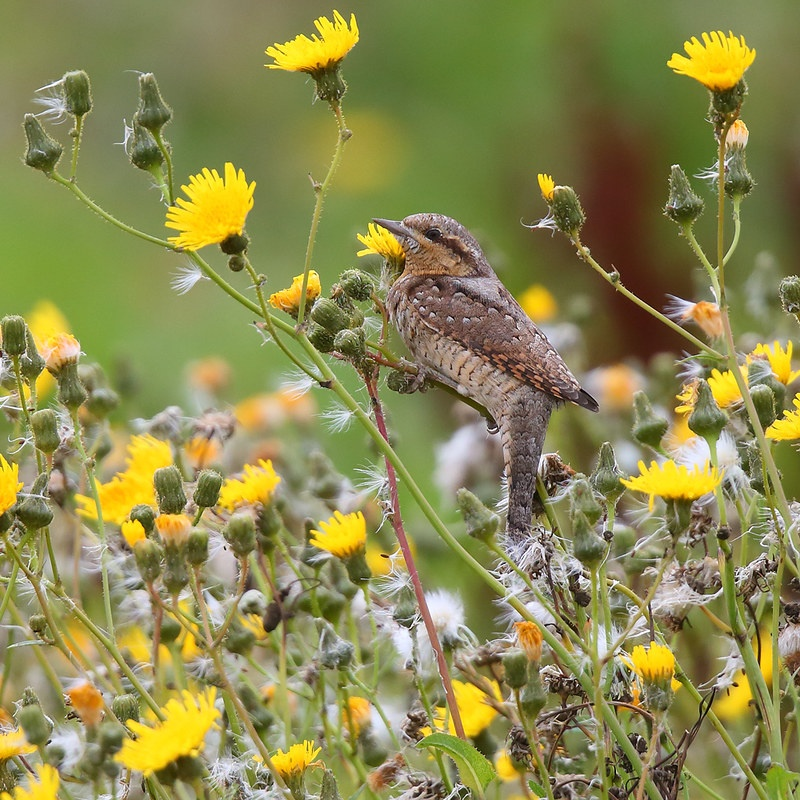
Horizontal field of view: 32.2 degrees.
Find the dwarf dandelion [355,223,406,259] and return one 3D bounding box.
[{"bbox_3d":[-0.056,-0.385,3.406,0.092,0.072,0.105,9,-3,-17],"label":"dwarf dandelion"}]

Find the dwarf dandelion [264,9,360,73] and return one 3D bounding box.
[{"bbox_3d":[-0.186,-0.756,3.040,0.126,0.278,0.142,-5,23,-13],"label":"dwarf dandelion"}]

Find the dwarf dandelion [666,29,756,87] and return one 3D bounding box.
[{"bbox_3d":[0.638,-0.717,2.848,0.167,0.142,0.258,0,36,13],"label":"dwarf dandelion"}]

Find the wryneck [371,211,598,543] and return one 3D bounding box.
[{"bbox_3d":[0.279,-0.163,4.368,1.044,0.395,0.612,24,87,33],"label":"wryneck"}]
